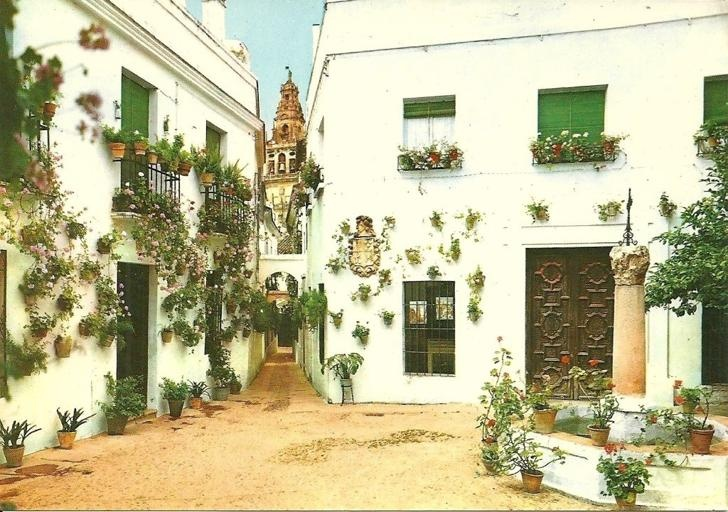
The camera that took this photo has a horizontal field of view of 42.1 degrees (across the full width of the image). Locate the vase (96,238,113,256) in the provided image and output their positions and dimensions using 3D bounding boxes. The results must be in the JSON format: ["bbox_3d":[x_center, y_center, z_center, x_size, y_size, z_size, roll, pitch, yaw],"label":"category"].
[{"bbox_3d":[-4.893,-0.166,17.630,0.275,0.224,0.294,2,-10,-10],"label":"vase"}]

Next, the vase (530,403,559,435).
[{"bbox_3d":[3.076,2.721,15.912,0.435,0.320,0.428,1,0,-7],"label":"vase"}]

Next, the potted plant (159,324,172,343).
[{"bbox_3d":[-4.084,1.580,19.366,0.295,0.219,0.291,1,-6,-3],"label":"potted plant"}]

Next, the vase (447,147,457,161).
[{"bbox_3d":[1.860,-2.123,19.946,0.212,0.287,0.210,1,-1,4],"label":"vase"}]

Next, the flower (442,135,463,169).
[{"bbox_3d":[1.875,-2.139,19.850,0.512,0.496,0.507,0,-4,-2],"label":"flower"}]

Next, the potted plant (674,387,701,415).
[{"bbox_3d":[5.863,2.549,16.932,0.516,0.576,0.584,1,-7,11],"label":"potted plant"}]

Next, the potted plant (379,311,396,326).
[{"bbox_3d":[0.523,1.319,20.174,0.312,0.294,0.311,-1,-9,36],"label":"potted plant"}]

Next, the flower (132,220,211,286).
[{"bbox_3d":[-3.991,-0.080,19.408,0.704,1.564,2.337,-2,7,11],"label":"flower"}]

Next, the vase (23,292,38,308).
[{"bbox_3d":[-5.769,0.739,16.216,0.226,0.167,0.223,1,-7,-5],"label":"vase"}]

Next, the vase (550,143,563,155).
[{"bbox_3d":[3.970,-2.164,19.350,0.207,0.245,0.071,-2,7,14],"label":"vase"}]

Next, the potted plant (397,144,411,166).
[{"bbox_3d":[0.870,-2.112,20.133,0.206,0.483,0.302,-9,9,-39],"label":"potted plant"}]

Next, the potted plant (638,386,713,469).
[{"bbox_3d":[5.354,2.846,16.010,1.104,0.969,1.329,4,-12,-40],"label":"potted plant"}]

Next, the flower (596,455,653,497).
[{"bbox_3d":[4.118,3.459,14.898,0.824,0.717,0.501,-3,7,9],"label":"flower"}]

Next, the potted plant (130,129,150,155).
[{"bbox_3d":[-4.366,-2.184,18.381,0.434,0.473,0.426,1,2,-44],"label":"potted plant"}]

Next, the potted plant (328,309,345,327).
[{"bbox_3d":[-0.594,1.318,20.422,0.347,0.352,0.182,-5,11,2],"label":"potted plant"}]

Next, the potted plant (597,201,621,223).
[{"bbox_3d":[5.009,-0.874,19.225,0.420,0.289,0.413,2,-6,-9],"label":"potted plant"}]

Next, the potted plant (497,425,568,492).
[{"bbox_3d":[2.736,3.252,15.370,1.052,0.955,0.878,-3,7,7],"label":"potted plant"}]

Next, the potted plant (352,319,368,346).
[{"bbox_3d":[-0.076,1.654,20.274,0.481,0.456,0.413,7,-24,-14],"label":"potted plant"}]

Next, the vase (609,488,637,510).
[{"bbox_3d":[4.108,3.767,14.839,0.319,0.215,0.314,3,-7,-42],"label":"vase"}]

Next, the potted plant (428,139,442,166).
[{"bbox_3d":[1.547,-2.154,20.032,0.280,0.575,0.438,-1,7,18],"label":"potted plant"}]

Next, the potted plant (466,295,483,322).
[{"bbox_3d":[2.287,1.086,19.609,0.352,0.513,0.333,0,25,0],"label":"potted plant"}]

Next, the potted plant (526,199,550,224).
[{"bbox_3d":[3.597,-0.916,19.425,0.448,0.445,0.448,-1,-6,-2],"label":"potted plant"}]

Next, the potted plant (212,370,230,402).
[{"bbox_3d":[-3.278,2.880,21.531,0.365,0.678,0.676,-4,7,-1],"label":"potted plant"}]

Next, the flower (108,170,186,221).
[{"bbox_3d":[-4.293,-1.249,18.722,0.624,0.882,1.798,-1,7,19],"label":"flower"}]

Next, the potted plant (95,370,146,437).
[{"bbox_3d":[-4.657,2.769,18.147,1.044,1.311,1.015,4,-13,-10],"label":"potted plant"}]

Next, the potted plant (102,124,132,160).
[{"bbox_3d":[-4.718,-2.158,17.975,0.523,0.555,0.484,-1,-3,-4],"label":"potted plant"}]

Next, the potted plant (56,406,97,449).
[{"bbox_3d":[-5.215,3.064,17.021,0.665,0.565,0.663,3,-5,-2],"label":"potted plant"}]

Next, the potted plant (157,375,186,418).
[{"bbox_3d":[-4.093,2.862,19.370,0.686,0.946,0.813,-4,-8,21],"label":"potted plant"}]

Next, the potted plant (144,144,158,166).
[{"bbox_3d":[-4.185,-1.987,18.635,0.319,0.311,0.314,-1,-13,-4],"label":"potted plant"}]

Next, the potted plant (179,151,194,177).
[{"bbox_3d":[-3.728,-1.897,19.573,0.421,0.405,0.412,1,-9,-4],"label":"potted plant"}]

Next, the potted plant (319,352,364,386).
[{"bbox_3d":[-0.446,2.401,20.199,0.675,0.374,0.679,-6,-6,26],"label":"potted plant"}]

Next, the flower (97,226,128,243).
[{"bbox_3d":[-4.760,-0.426,17.979,0.338,0.162,0.328,12,9,9],"label":"flower"}]

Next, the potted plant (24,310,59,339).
[{"bbox_3d":[-5.623,1.171,16.370,0.445,0.452,0.464,-9,-10,43],"label":"potted plant"}]

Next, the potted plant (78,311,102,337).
[{"bbox_3d":[-5.055,1.244,17.472,0.464,0.481,0.372,5,-6,-29],"label":"potted plant"}]

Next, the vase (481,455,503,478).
[{"bbox_3d":[2.101,3.427,15.510,0.292,0.211,0.291,1,-6,14],"label":"vase"}]

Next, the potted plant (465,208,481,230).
[{"bbox_3d":[2.272,-0.750,19.735,0.392,0.382,0.190,12,1,3],"label":"potted plant"}]

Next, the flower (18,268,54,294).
[{"bbox_3d":[-5.700,0.403,16.282,0.497,0.408,0.406,13,26,-7],"label":"flower"}]

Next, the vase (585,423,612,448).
[{"bbox_3d":[3.841,2.894,15.474,0.319,0.230,0.314,2,-1,-11],"label":"vase"}]

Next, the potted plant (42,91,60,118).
[{"bbox_3d":[-3.647,-1.749,10.961,0.243,0.239,0.242,-1,-10,2],"label":"potted plant"}]

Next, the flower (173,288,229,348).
[{"bbox_3d":[-3.631,1.344,20.560,0.987,1.267,3.436,1,-8,-6],"label":"flower"}]

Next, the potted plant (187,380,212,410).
[{"bbox_3d":[-3.589,2.963,20.433,0.510,0.435,0.504,0,-3,3],"label":"potted plant"}]

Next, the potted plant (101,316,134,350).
[{"bbox_3d":[-4.758,1.431,17.982,0.537,0.614,0.593,16,-6,-23],"label":"potted plant"}]

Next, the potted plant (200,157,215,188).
[{"bbox_3d":[-3.463,-1.808,20.744,0.331,0.634,0.226,-5,7,-9],"label":"potted plant"}]

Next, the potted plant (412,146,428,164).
[{"bbox_3d":[1.237,-2.133,20.047,0.303,0.360,0.209,-2,7,13],"label":"potted plant"}]
